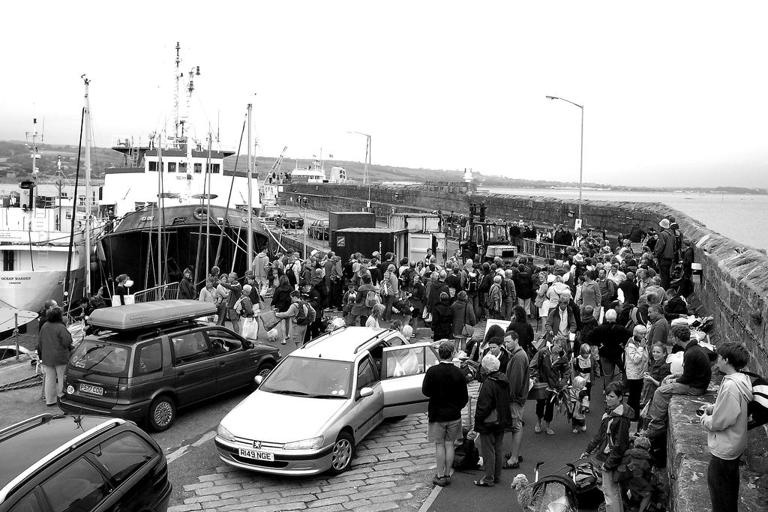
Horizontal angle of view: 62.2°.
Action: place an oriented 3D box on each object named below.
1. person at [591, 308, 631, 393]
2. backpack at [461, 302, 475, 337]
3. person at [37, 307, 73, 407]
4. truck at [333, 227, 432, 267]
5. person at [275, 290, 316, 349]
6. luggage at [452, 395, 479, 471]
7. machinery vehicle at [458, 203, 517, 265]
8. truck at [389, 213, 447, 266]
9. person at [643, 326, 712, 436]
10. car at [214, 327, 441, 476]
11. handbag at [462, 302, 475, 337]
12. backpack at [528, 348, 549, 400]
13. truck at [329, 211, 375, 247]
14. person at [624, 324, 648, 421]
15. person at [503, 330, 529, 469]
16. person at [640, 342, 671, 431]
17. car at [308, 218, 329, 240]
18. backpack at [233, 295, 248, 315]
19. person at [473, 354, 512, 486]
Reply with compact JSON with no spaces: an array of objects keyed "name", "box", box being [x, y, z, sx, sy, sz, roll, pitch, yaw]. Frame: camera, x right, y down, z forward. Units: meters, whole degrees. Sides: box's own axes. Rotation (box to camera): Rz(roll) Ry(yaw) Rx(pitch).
[{"name":"person","box":[4.514,1.902,12.741,0.730,1.541,0.486,0,5,20]},{"name":"backpack","box":[1.984,1.489,14.930,0.223,0.660,0.393,-2,10,10]},{"name":"person","box":[-6.865,2.175,13.311,0.798,2.221,0.841,0,1,-14]},{"name":"truck","box":[-0.060,-0.265,23.249,2.975,1.309,1.297,0,-2,3]},{"name":"person","box":[-2.148,1.648,16.328,0.706,1.454,1.263,2,-2,-1]},{"name":"luggage","box":[1.435,3.101,11.182,0.460,1.121,0.511,0,0,13]},{"name":"machinery vehicle","box":[4.549,-0.884,25.172,1.784,2.875,3.979,-3,6,-19]},{"name":"truck","box":[1.356,-0.662,26.544,1.781,2.063,3.453,-1,10,-20]},{"name":"person","box":[4.705,2.032,10.216,0.915,1.485,0.626,1,2,25]},{"name":"car","box":[-1.116,2.608,12.680,2.327,1.730,5.336,0,6,24]},{"name":"handbag","box":[1.981,1.518,14.928,0.248,0.659,0.395,-2,11,12]},{"name":"backpack","box":[2.868,2.151,11.704,0.287,0.846,0.577,5,2,-24]},{"name":"truck","box":[-1.459,-1.322,31.218,2.459,2.084,1.498,5,26,14]},{"name":"person","box":[4.770,2.179,11.995,0.559,1.662,0.445,-7,4,-44]},{"name":"person","box":[2.246,2.492,11.132,0.563,2.289,0.682,3,0,20]},{"name":"person","box":[4.834,2.324,11.379,0.441,1.533,0.502,6,17,29]},{"name":"car","box":[-4.760,-1.879,47.119,1.295,0.995,2.978,0,13,-12]},{"name":"backpack","box":[-3.609,1.293,16.526,0.425,0.601,0.403,7,-6,-33]},{"name":"person","box":[1.746,2.674,10.528,0.679,2.020,0.553,1,-1,-4]}]
